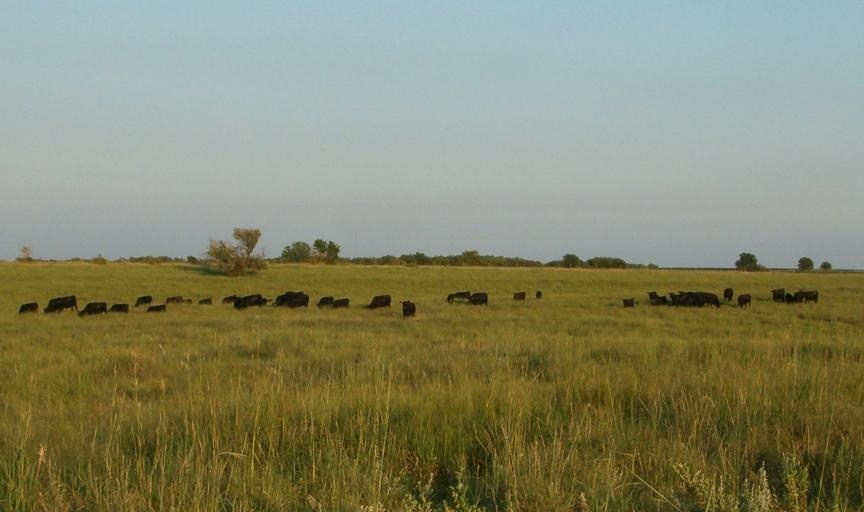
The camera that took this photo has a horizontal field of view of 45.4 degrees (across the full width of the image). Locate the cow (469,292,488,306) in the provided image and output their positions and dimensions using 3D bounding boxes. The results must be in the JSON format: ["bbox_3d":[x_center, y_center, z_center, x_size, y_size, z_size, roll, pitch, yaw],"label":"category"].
[{"bbox_3d":[3.454,3.348,80.468,1.456,0.815,0.887,1,-2,29],"label":"cow"}]

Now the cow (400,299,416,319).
[{"bbox_3d":[-1.657,3.889,74.359,0.997,1.149,2.704,2,-2,-2],"label":"cow"}]

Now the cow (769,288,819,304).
[{"bbox_3d":[28.238,3.168,80.309,3.296,1.034,2.501,1,-2,19],"label":"cow"}]

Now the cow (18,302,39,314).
[{"bbox_3d":[-28.255,3.654,72.169,1.215,0.632,0.786,3,-2,-41],"label":"cow"}]

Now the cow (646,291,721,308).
[{"bbox_3d":[19.381,3.337,79.579,5.423,1.166,2.563,0,-2,41],"label":"cow"}]
